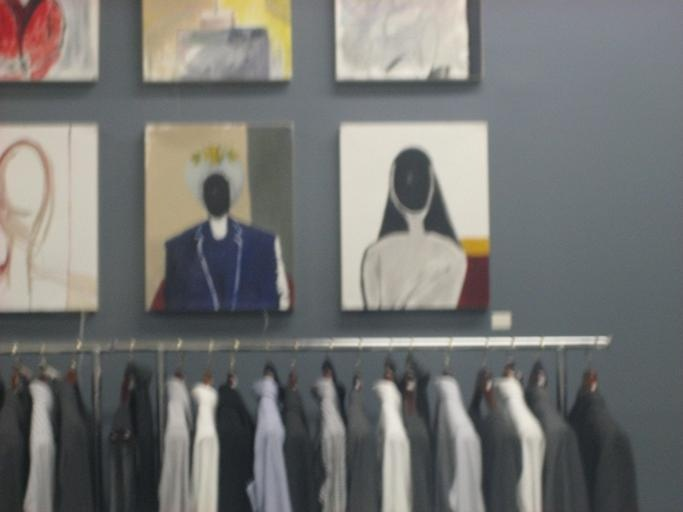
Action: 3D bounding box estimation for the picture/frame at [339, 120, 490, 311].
[{"bbox_3d":[0.227,-0.115,5.318,0.476,0.716,0.028,1,30,6],"label":"picture/frame"}]
